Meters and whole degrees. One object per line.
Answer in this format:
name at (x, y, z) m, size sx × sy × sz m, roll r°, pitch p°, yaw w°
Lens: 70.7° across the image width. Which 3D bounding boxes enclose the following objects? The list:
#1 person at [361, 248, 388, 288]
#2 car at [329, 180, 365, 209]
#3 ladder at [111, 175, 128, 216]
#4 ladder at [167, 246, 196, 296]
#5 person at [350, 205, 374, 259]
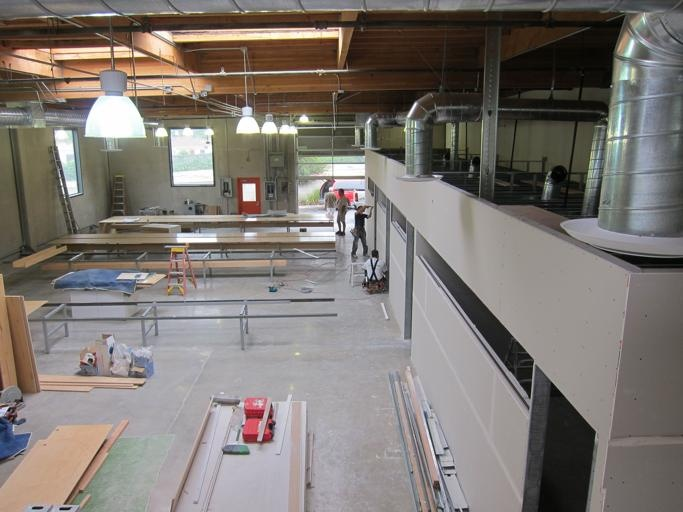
person at (0.758, 0.263, 10.952) m, size 0.534 × 0.863 × 0.621 m, roll -1°, pitch 13°, yaw 7°
car at (0.476, -3.467, 24.238) m, size 1.442 × 1.258 × 2.136 m, roll 0°, pitch 29°, yaw -2°
ladder at (-8.549, -2.371, 18.398) m, size 0.599 × 1.458 × 0.606 m, roll -5°, pitch 13°, yaw -6°
ladder at (-3.789, 0.376, 11.412) m, size 0.770 × 1.205 × 0.894 m, roll 2°, pitch 15°, yaw -4°
person at (0.593, -0.792, 14.005) m, size 0.619 × 1.448 × 1.759 m, roll -2°, pitch 12°, yaw 4°
